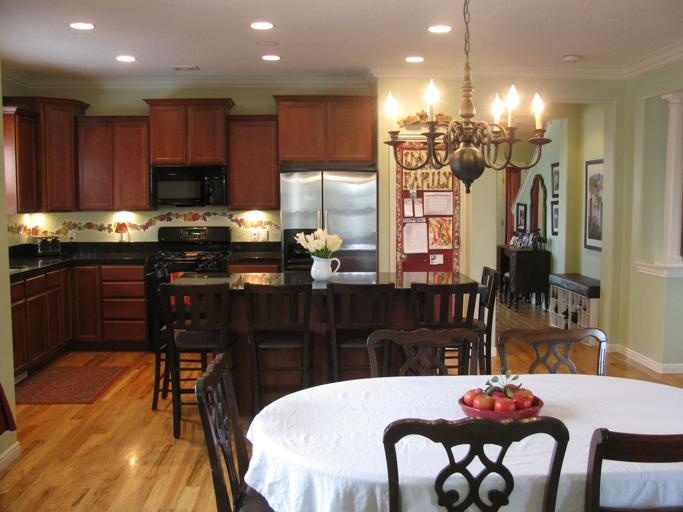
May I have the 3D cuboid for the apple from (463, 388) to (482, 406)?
[{"bbox_3d":[0.606,0.653,2.514,0.071,0.075,0.071,1,1,-11],"label":"apple"}]

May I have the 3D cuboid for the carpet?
[{"bbox_3d":[-2.557,1.183,5.027,0.863,0.028,0.942,0,9,-2],"label":"carpet"}]

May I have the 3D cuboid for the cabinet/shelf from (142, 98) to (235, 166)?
[{"bbox_3d":[-1.791,-1.326,6.406,1.261,0.939,0.660,0,0,0],"label":"cabinet/shelf"}]

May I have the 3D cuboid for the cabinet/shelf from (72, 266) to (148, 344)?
[{"bbox_3d":[-2.548,0.530,6.243,0.987,1.017,0.745,0,0,-2],"label":"cabinet/shelf"}]

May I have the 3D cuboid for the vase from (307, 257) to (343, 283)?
[{"bbox_3d":[-0.145,0.112,4.506,0.262,0.209,0.169,1,1,-7],"label":"vase"}]

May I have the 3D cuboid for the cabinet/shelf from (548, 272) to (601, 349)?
[{"bbox_3d":[2.532,0.560,5.804,0.273,0.722,0.849,1,3,-4],"label":"cabinet/shelf"}]

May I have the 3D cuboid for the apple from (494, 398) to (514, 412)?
[{"bbox_3d":[0.717,0.661,2.385,0.059,0.057,0.060,2,-8,3],"label":"apple"}]

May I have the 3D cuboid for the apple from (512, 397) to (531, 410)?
[{"bbox_3d":[0.810,0.657,2.422,0.062,0.066,0.065,6,7,21],"label":"apple"}]

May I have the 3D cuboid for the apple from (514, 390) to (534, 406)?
[{"bbox_3d":[0.820,0.645,2.433,0.074,0.101,0.075,2,-5,-24],"label":"apple"}]

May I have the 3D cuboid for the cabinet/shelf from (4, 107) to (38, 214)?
[{"bbox_3d":[-3.371,-1.013,5.661,0.216,1.104,0.511,-1,10,-5],"label":"cabinet/shelf"}]

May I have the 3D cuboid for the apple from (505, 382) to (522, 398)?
[{"bbox_3d":[0.785,0.615,2.473,0.059,0.024,0.059,5,11,28],"label":"apple"}]

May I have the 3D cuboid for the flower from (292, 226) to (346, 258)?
[{"bbox_3d":[-0.210,-0.101,4.425,0.325,0.278,0.322,1,-2,-32],"label":"flower"}]

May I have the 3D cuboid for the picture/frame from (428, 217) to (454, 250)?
[{"bbox_3d":[1.075,-0.268,5.908,0.347,0.451,0.030,0,4,-5],"label":"picture/frame"}]

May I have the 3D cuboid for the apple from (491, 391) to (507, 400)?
[{"bbox_3d":[0.715,0.637,2.460,0.034,0.035,0.035,1,2,23],"label":"apple"}]

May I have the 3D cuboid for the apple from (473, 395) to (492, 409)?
[{"bbox_3d":[0.640,0.652,2.425,0.058,0.057,0.058,1,-2,2],"label":"apple"}]

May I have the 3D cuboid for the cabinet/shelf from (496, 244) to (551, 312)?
[{"bbox_3d":[2.707,0.307,7.970,0.340,0.643,0.985,0,3,1],"label":"cabinet/shelf"}]
